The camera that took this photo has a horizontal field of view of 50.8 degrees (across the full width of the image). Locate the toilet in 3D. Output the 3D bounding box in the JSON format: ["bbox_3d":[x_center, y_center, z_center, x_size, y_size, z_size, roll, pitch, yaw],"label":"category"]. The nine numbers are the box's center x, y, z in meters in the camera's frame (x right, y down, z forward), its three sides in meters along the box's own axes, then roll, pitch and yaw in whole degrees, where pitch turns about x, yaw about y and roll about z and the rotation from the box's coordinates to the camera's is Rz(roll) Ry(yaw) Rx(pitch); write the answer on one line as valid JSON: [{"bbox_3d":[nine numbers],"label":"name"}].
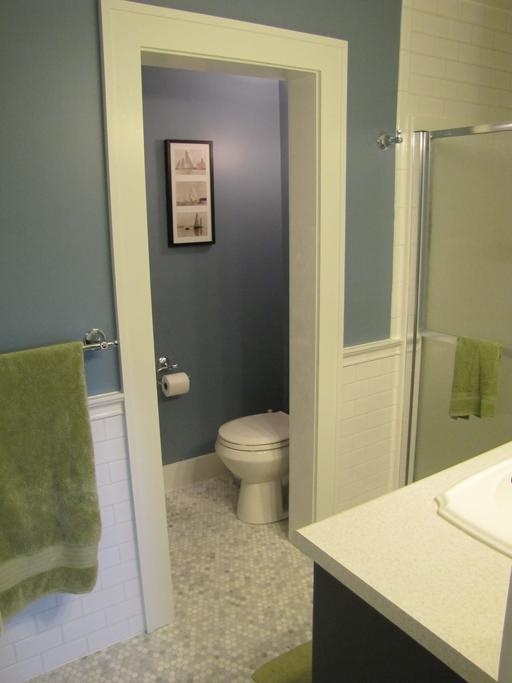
[{"bbox_3d":[-0.011,0.619,2.702,0.422,0.558,0.371,-3,7,-27],"label":"toilet"}]

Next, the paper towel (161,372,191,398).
[{"bbox_3d":[-0.399,0.204,2.629,0.116,0.094,0.161,-4,12,-22],"label":"paper towel"}]

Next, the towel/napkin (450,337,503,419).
[{"bbox_3d":[0.824,0.164,2.025,0.072,0.337,0.189,-5,11,-28],"label":"towel/napkin"}]
